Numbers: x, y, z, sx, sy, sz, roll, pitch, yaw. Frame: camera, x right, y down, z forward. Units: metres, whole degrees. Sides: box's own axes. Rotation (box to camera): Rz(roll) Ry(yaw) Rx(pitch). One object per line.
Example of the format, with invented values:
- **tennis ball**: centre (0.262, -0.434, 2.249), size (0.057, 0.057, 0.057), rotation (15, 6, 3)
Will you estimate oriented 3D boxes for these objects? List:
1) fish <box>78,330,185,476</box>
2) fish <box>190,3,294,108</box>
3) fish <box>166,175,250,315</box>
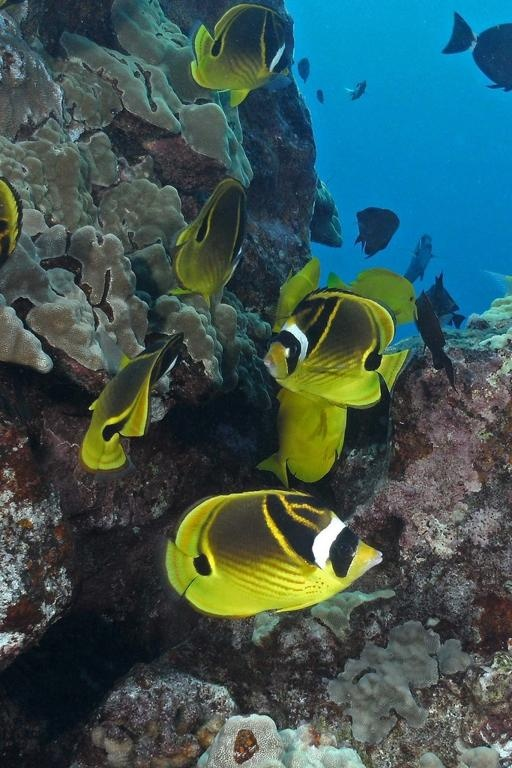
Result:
- **fish**: centre (-0.608, 0.068, 3.562), size (0.276, 0.765, 0.384), rotation (35, -11, -18)
- **fish**: centre (-0.096, -1.898, 4.238), size (0.705, 0.444, 0.411), rotation (-30, 49, -28)
- **fish**: centre (-0.222, -0.676, 3.577), size (0.323, 0.583, 0.220), rotation (12, 36, -22)
